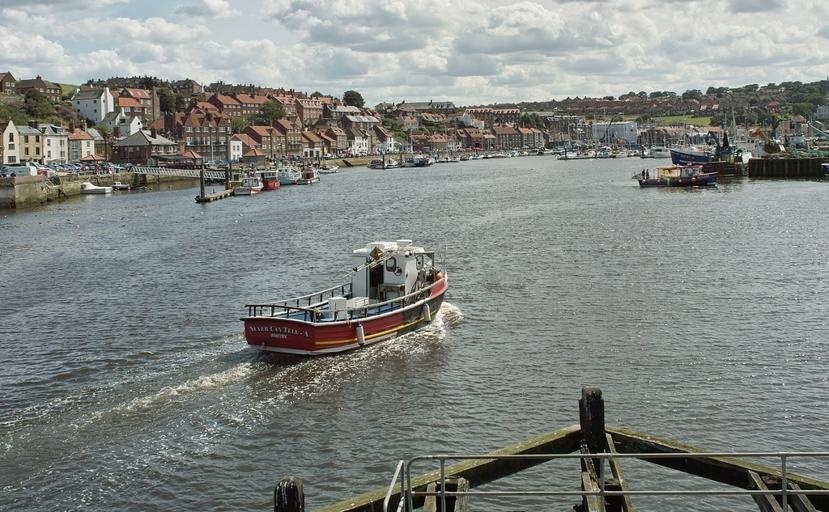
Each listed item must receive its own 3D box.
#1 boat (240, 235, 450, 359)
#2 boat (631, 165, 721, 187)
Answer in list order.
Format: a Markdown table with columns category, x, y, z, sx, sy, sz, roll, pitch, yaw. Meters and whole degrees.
| category | x | y | z | sx | sy | sz | roll | pitch | yaw |
| --- | --- | --- | --- | --- | --- | --- | --- | --- | --- |
| boat | -2.540 | 2.215 | 50.564 | 5.212 | 3.329 | 10.278 | 14 | 21 | 40 |
| boat | 28.902 | -8.842 | 113.250 | 8.575 | 2.164 | 3.679 | -5 | 11 | -23 |
